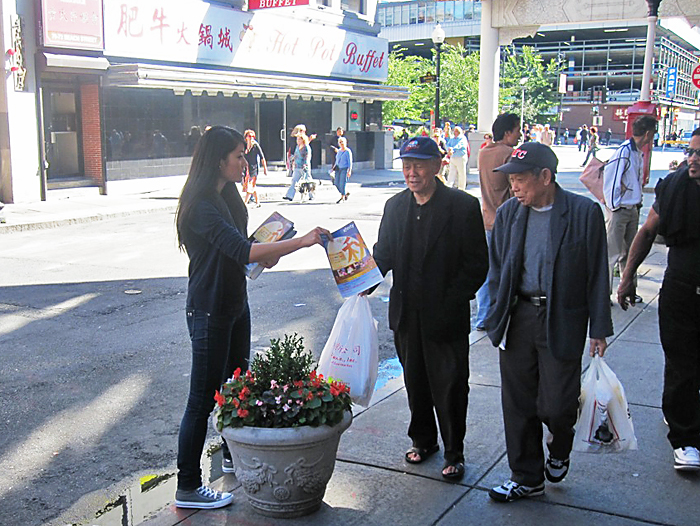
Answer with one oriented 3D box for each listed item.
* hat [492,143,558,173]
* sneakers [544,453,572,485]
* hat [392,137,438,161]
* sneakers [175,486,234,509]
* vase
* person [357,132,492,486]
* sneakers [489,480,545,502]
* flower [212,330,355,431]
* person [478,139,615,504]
[{"bbox_3d":[1.102,-0.620,3.351,0.332,0.175,0.217,3,10,-4],"label":"hat"},{"bbox_3d":[1.348,1.348,3.507,0.094,0.299,0.126,10,-17,23],"label":"sneakers"},{"bbox_3d":[0.491,-0.755,3.619,0.156,0.112,0.220,-1,-2,36],"label":"hat"},{"bbox_3d":[-0.906,1.455,3.431,0.370,0.171,0.141,0,2,-5],"label":"sneakers"},{"bbox_3d":[-0.373,1.187,3.319,0.606,0.443,0.629,-1,-9,1],"label":"vase"},{"bbox_3d":[0.558,0.295,3.778,0.704,2.298,0.532,9,18,40],"label":"person"},{"bbox_3d":[1.055,1.462,3.501,0.363,0.165,0.132,1,0,-9],"label":"sneakers"},{"bbox_3d":[-0.375,0.754,3.403,0.621,0.565,0.653,-2,-1,14],"label":"flower"},{"bbox_3d":[1.252,0.404,3.415,0.751,2.280,0.649,1,14,14],"label":"person"}]
